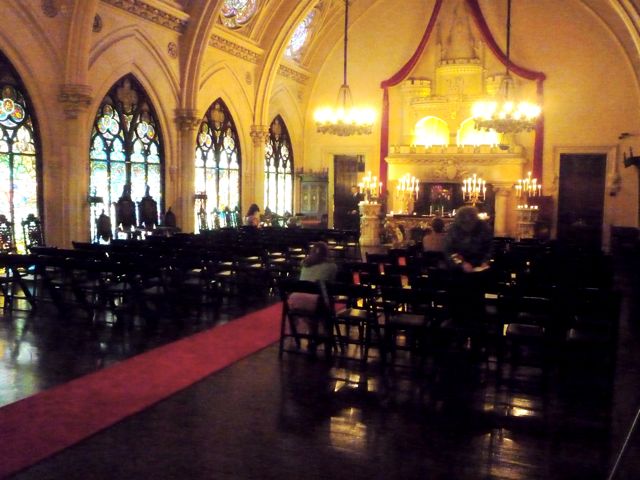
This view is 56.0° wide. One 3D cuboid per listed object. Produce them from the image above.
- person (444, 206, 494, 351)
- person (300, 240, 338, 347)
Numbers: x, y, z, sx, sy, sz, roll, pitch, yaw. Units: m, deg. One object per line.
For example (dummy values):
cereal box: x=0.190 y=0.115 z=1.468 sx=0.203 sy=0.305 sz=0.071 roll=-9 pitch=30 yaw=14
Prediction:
person: x=2.137 y=0.559 z=8.805 sx=0.678 sy=1.989 sz=1.124 roll=3 pitch=11 yaw=15
person: x=-0.006 y=0.709 z=9.242 sx=0.565 sy=1.237 sz=1.145 roll=1 pitch=11 yaw=-1
